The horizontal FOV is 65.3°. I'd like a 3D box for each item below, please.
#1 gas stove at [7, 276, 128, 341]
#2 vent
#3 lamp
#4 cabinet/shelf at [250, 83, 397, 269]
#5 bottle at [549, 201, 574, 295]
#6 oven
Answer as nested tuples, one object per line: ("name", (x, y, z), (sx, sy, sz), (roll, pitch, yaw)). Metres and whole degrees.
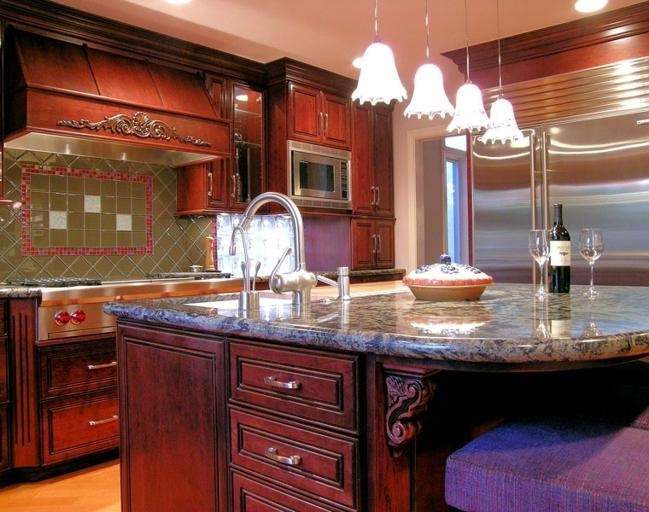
("gas stove", (-1.452, 0.297, 2.842), (0.618, 0.319, 0.141), (-7, 9, -36))
("vent", (-1.385, -1.055, 3.431), (1.365, 0.796, 0.466), (-8, 10, -41))
("lamp", (0.824, -1.334, 3.582), (0.265, 1.052, 1.084), (-7, -9, 44))
("cabinet/shelf", (-0.059, -0.719, 4.483), (0.488, 1.790, 1.640), (-4, -5, 38))
("bottle", (0.964, -0.036, 2.060), (0.084, 0.357, 0.207), (3, 8, 26))
("oven", (-0.148, -0.746, 4.804), (0.451, 0.554, 0.808), (4, 4, 44))
